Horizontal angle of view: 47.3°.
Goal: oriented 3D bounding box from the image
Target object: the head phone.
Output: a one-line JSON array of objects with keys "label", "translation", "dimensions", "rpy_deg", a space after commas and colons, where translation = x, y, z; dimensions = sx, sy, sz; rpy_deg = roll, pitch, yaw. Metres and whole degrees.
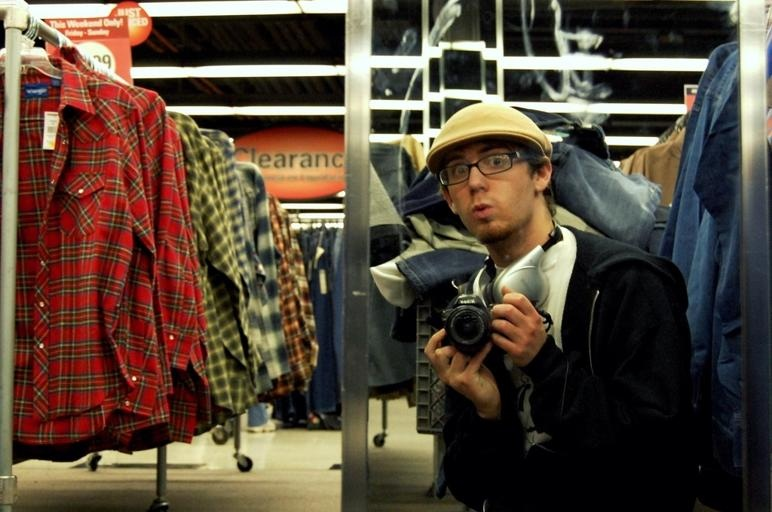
[{"label": "head phone", "translation": [0.377, 0.031, 2.470], "dimensions": [0.077, 0.186, 0.194], "rpy_deg": [41, -22, -14]}]

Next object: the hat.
[{"label": "hat", "translation": [0.319, -0.362, 2.614], "dimensions": [0.333, 0.136, 0.366], "rpy_deg": [-4, -11, 15]}]

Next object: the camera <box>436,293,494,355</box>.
[{"label": "camera", "translation": [0.224, 0.177, 2.428], "dimensions": [0.134, 0.181, 0.057], "rpy_deg": [29, 19, 2]}]
